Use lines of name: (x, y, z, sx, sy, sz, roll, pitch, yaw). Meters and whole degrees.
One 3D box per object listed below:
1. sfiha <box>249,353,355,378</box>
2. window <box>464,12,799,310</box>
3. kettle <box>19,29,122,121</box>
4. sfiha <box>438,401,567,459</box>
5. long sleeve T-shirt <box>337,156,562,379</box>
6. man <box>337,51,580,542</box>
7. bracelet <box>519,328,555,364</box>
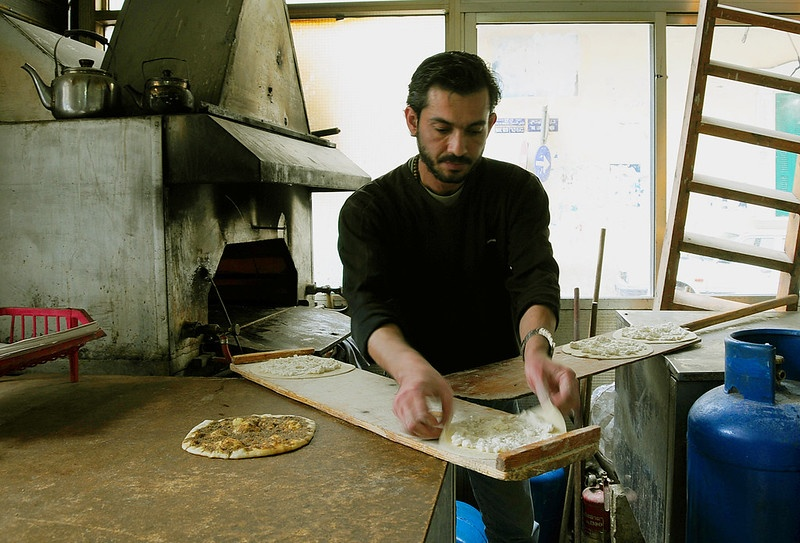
sfiha: (-0.426, 0.406, 2.651, 0.440, 0.042, 0.279, -1, 5, -17)
window: (1.555, -0.780, 3.939, 2.050, 1.858, 0.499, -3, 8, 6)
kettle: (-1.653, -0.980, 3.108, 0.466, 0.425, 0.310, -6, 17, -33)
sfiha: (0.339, 0.557, 2.115, 0.248, 0.058, 0.241, -4, 6, -2)
long sleeve T-shirt: (0.266, 0.048, 2.765, 0.903, 1.023, 0.718, -8, 28, 0)
man: (0.220, 0.171, 2.511, 0.939, 2.112, 0.716, 0, 5, -7)
bracelet: (0.548, 0.293, 2.474, 0.143, 0.149, 0.094, -1, -2, 3)
